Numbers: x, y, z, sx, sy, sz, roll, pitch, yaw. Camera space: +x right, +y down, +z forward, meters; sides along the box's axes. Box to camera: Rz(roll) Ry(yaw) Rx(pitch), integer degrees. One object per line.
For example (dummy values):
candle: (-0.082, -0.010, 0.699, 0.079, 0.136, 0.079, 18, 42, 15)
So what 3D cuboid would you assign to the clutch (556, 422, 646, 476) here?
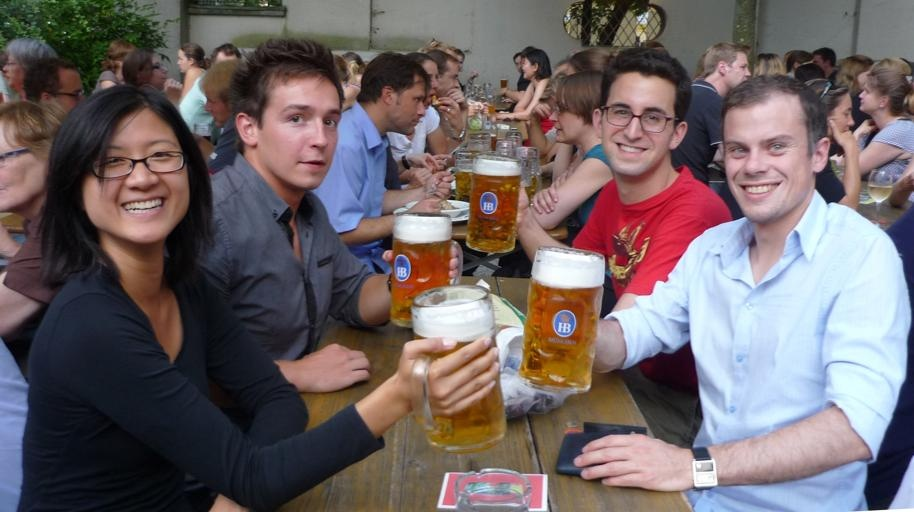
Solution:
clutch: (0.414, 0.564, 1.899, 0.325, 0.087, 0.132, -9, 18, -31)

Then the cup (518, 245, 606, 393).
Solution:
cup: (0.316, 0.193, 1.921, 0.235, 0.429, 0.171, 2, 17, 10)

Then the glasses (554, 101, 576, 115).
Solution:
glasses: (0.646, -0.897, 3.795, 0.106, 0.038, 0.103, 22, 1, -22)

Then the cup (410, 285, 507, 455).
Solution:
cup: (-0.001, 0.301, 1.698, 0.234, 0.417, 0.228, -1, 16, 0)

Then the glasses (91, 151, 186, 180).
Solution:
glasses: (-0.908, -0.258, 1.776, 0.230, 0.072, 0.037, -8, 18, -27)
